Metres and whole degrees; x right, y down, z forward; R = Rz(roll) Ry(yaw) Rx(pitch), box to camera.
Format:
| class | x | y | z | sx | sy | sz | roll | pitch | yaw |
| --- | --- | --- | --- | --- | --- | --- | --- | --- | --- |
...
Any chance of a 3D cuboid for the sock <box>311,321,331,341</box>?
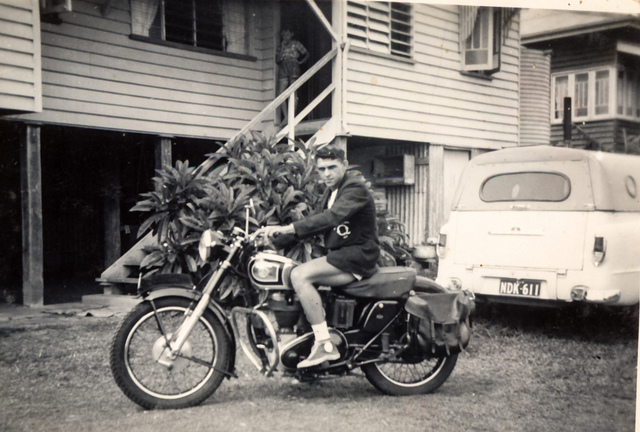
| class | x | y | z | sx | sy | sz | roll | pitch | yaw |
| --- | --- | --- | --- | --- | --- | --- | --- | --- | --- |
| sock | 0.012 | 1.195 | 7.447 | 0.172 | 0.196 | 0.169 | -20 | -3 | -41 |

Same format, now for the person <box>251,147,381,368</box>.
| class | x | y | z | sx | sy | sz | roll | pitch | yaw |
| --- | --- | --- | --- | --- | --- | --- | --- | --- | --- |
| person | 0.068 | 0.431 | 7.529 | 1.142 | 2.148 | 0.372 | 3 | -1 | -3 |

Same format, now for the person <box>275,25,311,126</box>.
| class | x | y | z | sx | sy | sz | roll | pitch | yaw |
| --- | --- | --- | --- | --- | --- | --- | --- | --- | --- |
| person | -0.468 | -2.548 | 12.771 | 0.523 | 1.738 | 0.605 | 4 | -1 | -30 |

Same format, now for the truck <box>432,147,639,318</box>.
| class | x | y | z | sx | sy | sz | roll | pitch | yaw |
| --- | --- | --- | --- | --- | --- | --- | --- | --- | --- |
| truck | 2.725 | 0.154 | 8.824 | 1.605 | 1.423 | 2.734 | 2 | 4 | 40 |
